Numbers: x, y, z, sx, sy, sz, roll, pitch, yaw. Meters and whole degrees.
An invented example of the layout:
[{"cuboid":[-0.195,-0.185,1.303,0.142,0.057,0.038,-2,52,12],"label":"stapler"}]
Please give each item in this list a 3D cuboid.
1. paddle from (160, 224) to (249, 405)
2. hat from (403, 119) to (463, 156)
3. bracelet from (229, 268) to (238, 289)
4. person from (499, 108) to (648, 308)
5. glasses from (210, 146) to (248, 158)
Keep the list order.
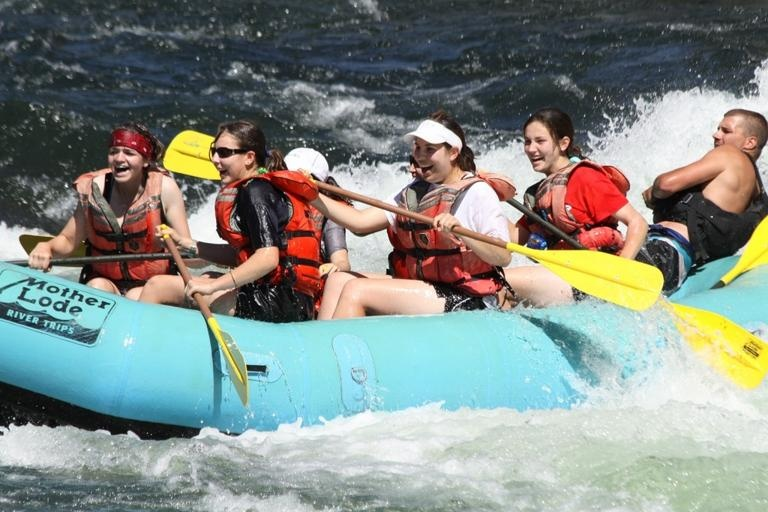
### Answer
[{"cuboid":[-1.208,0.425,5.931,0.184,0.205,1.742,10,32,-32],"label":"paddle"},{"cuboid":[0.374,-0.870,6.332,0.330,0.107,0.231,26,-3,-38],"label":"hat"},{"cuboid":[-1.013,0.145,5.892,0.026,0.103,0.110,-13,-8,-8],"label":"bracelet"},{"cuboid":[1.271,-0.387,7.046,1.337,1.576,1.205,-9,-9,18],"label":"person"},{"cuboid":[-1.115,-0.750,6.294,0.140,0.041,0.135,2,-1,-30],"label":"glasses"}]
